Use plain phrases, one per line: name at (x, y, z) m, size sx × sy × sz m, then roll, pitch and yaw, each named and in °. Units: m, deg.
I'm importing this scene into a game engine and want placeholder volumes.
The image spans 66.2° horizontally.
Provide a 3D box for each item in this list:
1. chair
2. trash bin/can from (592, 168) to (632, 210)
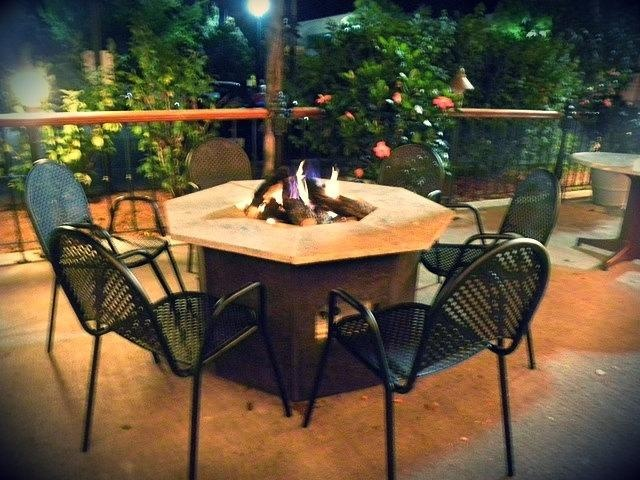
chair at (-0.169, 0.428, 2.926) m, size 1.957 × 0.916 × 2.109 m, roll 3°, pitch 14°, yaw 3°
trash bin/can at (3.773, -0.660, 6.398) m, size 0.620 × 0.497 × 0.563 m, roll 10°, pitch 21°, yaw 37°
